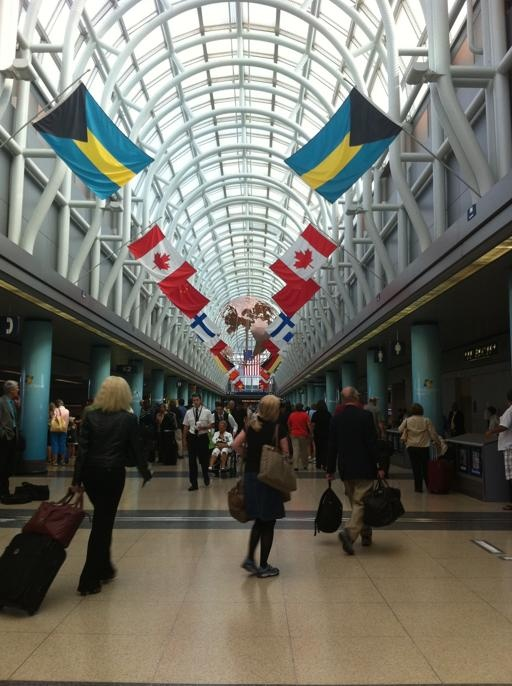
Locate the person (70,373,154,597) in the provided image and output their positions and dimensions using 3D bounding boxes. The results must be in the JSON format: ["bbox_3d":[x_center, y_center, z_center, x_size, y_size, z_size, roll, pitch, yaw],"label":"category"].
[{"bbox_3d":[-1.247,1.176,3.972,0.612,1.804,0.445,2,-9,-14],"label":"person"}]

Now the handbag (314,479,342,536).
[{"bbox_3d":[0.817,1.902,5.245,0.281,0.505,0.264,-1,-9,8],"label":"handbag"}]

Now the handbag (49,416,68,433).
[{"bbox_3d":[-6.909,2.844,16.087,0.540,0.676,0.279,4,12,14],"label":"handbag"}]

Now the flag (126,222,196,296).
[{"bbox_3d":[-3.341,-3.077,16.119,2.086,1.843,0.976,7,-12,-38],"label":"flag"}]

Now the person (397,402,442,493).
[{"bbox_3d":[3.644,2.355,10.229,0.841,1.908,1.149,-3,-10,17],"label":"person"}]

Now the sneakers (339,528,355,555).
[{"bbox_3d":[1.002,2.221,5.195,0.109,0.338,0.140,-11,-1,38],"label":"sneakers"}]

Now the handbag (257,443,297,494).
[{"bbox_3d":[0.174,1.183,4.326,0.162,0.397,0.382,-27,-47,36],"label":"handbag"}]

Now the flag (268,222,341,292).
[{"bbox_3d":[1.669,-3.136,16.089,2.095,1.823,0.931,-5,-11,26],"label":"flag"}]

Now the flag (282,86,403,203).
[{"bbox_3d":[1.666,-3.660,8.752,0.858,1.643,2.072,9,-13,-42],"label":"flag"}]

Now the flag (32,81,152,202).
[{"bbox_3d":[-3.242,-3.878,9.016,0.875,1.401,1.828,-6,-11,32],"label":"flag"}]

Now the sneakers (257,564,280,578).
[{"bbox_3d":[0.115,2.119,4.302,0.181,0.098,0.090,-1,0,-10],"label":"sneakers"}]

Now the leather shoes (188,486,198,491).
[{"bbox_3d":[-1.433,3.281,10.394,0.213,0.102,0.322,1,-10,-7],"label":"leather shoes"}]

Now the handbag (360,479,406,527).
[{"bbox_3d":[1.443,1.843,5.324,0.461,0.491,0.326,1,-9,-5],"label":"handbag"}]

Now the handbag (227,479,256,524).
[{"bbox_3d":[-0.115,1.584,4.672,0.305,0.663,0.492,-1,-19,4],"label":"handbag"}]
